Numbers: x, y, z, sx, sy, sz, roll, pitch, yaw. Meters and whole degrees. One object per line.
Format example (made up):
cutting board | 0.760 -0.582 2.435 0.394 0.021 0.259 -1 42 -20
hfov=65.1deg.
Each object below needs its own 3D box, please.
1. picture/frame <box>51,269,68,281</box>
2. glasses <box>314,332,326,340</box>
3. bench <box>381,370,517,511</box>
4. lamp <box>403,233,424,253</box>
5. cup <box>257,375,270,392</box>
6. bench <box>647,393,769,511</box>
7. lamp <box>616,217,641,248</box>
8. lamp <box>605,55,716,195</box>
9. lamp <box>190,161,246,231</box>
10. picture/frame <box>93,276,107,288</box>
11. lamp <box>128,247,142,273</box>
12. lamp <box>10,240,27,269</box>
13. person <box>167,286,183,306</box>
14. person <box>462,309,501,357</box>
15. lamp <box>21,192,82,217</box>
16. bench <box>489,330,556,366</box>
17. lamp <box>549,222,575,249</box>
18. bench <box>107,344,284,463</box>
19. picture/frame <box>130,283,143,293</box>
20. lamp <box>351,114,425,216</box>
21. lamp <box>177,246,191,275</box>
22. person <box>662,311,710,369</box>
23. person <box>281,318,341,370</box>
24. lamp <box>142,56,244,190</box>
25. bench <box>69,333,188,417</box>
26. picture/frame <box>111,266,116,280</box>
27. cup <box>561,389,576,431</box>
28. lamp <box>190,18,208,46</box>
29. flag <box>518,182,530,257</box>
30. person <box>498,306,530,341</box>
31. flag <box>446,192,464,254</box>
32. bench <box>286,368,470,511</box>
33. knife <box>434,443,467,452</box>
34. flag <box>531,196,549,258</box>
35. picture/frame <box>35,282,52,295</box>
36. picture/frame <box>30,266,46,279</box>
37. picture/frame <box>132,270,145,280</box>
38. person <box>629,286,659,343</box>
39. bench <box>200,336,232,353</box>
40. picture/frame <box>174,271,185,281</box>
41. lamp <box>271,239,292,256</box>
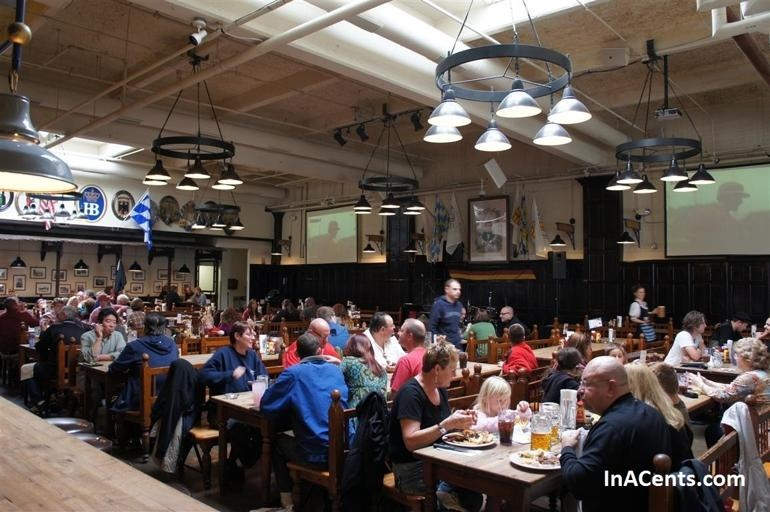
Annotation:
picture/frame | -10.725 0.615 19.792 0.494 0.379 0.818 2 -4 -31
glasses | -0.819 1.016 7.687 0.111 0.033 0.108 9 -2 36
bench | 0.637 1.901 6.022 0.539 0.482 1.592 8 25 23
lamp | 0.908 -0.395 18.221 0.614 0.597 0.553 1 2 -13
cup | -1.475 1.494 7.183 0.200 0.195 0.118 -2 -3 21
bench | 3.114 1.868 5.722 1.236 0.729 0.399 -5 5 -43
lamp | 5.720 -0.578 14.452 0.864 0.757 0.449 8 -8 -42
lamp | 5.058 -2.701 11.047 1.442 2.507 1.630 -3 2 -7
lamp | -4.954 -2.057 18.768 1.216 2.099 1.416 8 1 -18
picture/frame | -9.986 0.893 20.961 0.377 0.362 0.028 9 -7 -29
lamp | -8.913 0.107 21.435 0.408 0.897 0.701 0 -3 -9
lamp | -11.618 0.037 19.020 0.429 0.675 0.669 1 -4 -30
person | -7.042 1.333 20.083 0.457 0.754 0.454 2 11 11
person | 1.804 1.474 11.087 0.470 0.961 0.506 -6 3 -13
lamp | -8.746 -1.326 15.552 1.463 0.516 1.439 1 -7 -18
bench | 2.477 1.683 10.507 1.168 0.665 0.354 -7 -22 10
lamp | 4.476 -0.552 15.623 0.851 0.767 0.491 7 -9 -35
bench | -2.517 1.583 8.154 1.467 1.657 2.139 -2 -5 37
picture/frame | -8.933 1.126 21.533 0.026 0.301 0.360 -8 -11 44
lamp | 0.124 -2.372 14.357 1.576 2.470 1.659 1 1 22
lamp | -7.617 0.193 22.841 0.253 0.985 0.670 -3 -4 36
person | 4.833 1.439 9.585 0.508 1.093 0.665 -1 5 -30
person | -0.953 1.110 7.927 0.452 0.633 0.818 17 17 40
lamp | -4.034 -2.908 12.680 1.881 2.158 1.945 -16 -24 39
bench | -3.519 1.521 8.405 1.023 0.674 1.411 3 1 38
picture/frame | -9.631 0.569 21.285 0.145 0.455 0.115 0 -3 -9
cup | 1.890 1.597 6.150 0.171 0.450 0.191 2 -4 -15
lamp | -2.718 -3.235 8.781 0.217 0.361 0.611 0 -4 -16
flag | 3.738 -0.898 16.388 0.433 1.926 0.253 -1 -3 12
person | 2.704 1.385 12.491 0.550 0.751 0.968 2 -4 26
flag | 2.051 -0.984 17.580 0.450 1.751 0.374 -1 -3 19
bench | -0.086 1.935 6.319 0.688 1.354 1.819 2 2 44
knife | 0.651 1.859 5.855 0.288 0.024 0.041 4 17 23
flag | 4.141 -0.796 16.090 0.437 1.695 0.487 -1 -3 14
picture/frame | -11.275 1.043 19.753 0.039 0.343 0.415 -7 -8 42
picture/frame | -11.394 0.524 19.646 0.028 0.391 0.411 -10 -9 43
picture/frame | -8.892 0.666 21.609 0.027 0.285 0.344 1 -2 40
person | 5.719 1.303 13.170 0.463 1.527 0.647 -15 14 32
bench | -2.692 1.399 9.525 0.310 0.334 0.538 -4 -5 37
picture/frame | -7.759 0.721 22.546 0.028 0.288 0.349 -2 -5 32
lamp | -3.982 -0.335 23.114 0.804 0.596 0.470 7 -10 -35
